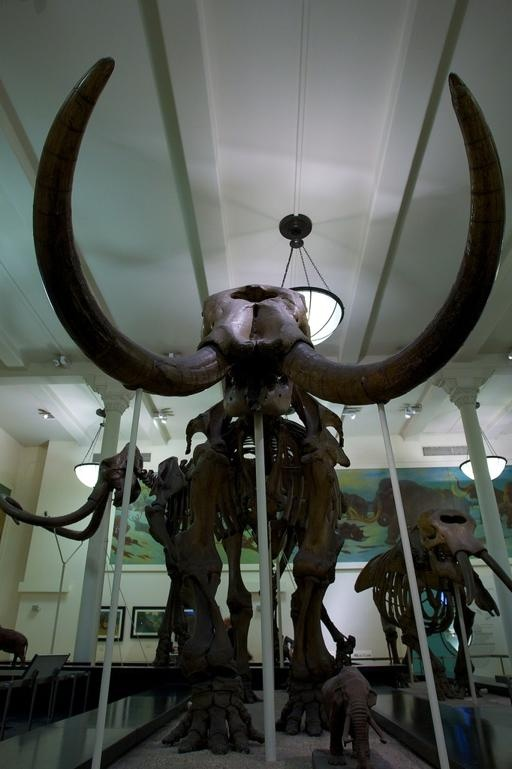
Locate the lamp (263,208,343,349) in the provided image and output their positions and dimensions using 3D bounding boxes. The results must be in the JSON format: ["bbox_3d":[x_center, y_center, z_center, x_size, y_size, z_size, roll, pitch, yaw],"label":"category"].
[{"bbox_3d":[0.676,-1.347,6.076,0.691,1.623,1.490,-7,-24,5],"label":"lamp"}]
